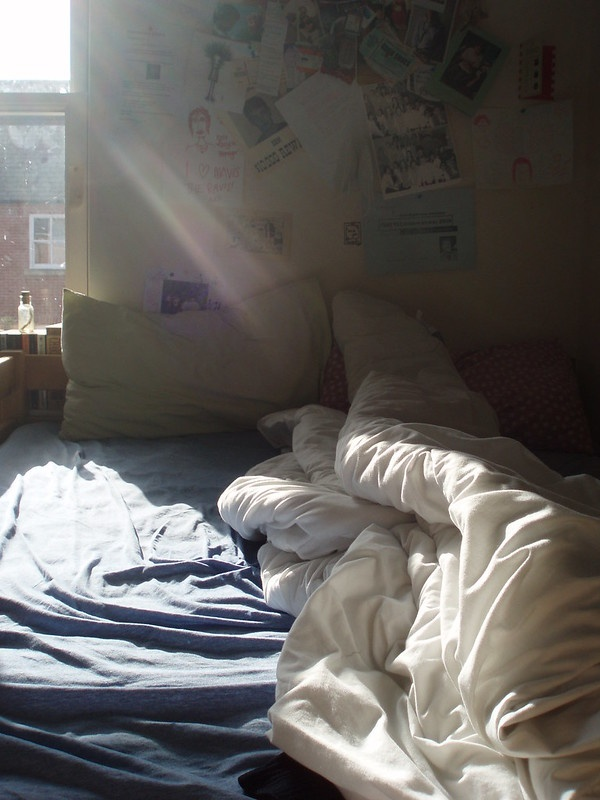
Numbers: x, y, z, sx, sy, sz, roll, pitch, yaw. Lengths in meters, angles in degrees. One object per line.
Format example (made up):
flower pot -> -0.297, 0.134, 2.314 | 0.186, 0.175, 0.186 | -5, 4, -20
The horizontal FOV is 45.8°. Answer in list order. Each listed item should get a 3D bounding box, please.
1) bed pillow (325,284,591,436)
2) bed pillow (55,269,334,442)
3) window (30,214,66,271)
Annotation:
bed pillow -> 0.413, -0.124, 1.947 | 0.723, 0.202, 0.287 | 19, 12, 8
bed pillow -> -0.320, -0.116, 2.250 | 0.871, 0.425, 0.199 | -1, 8, -2
window -> -0.883, -0.549, 2.473 | 0.122, 0.196, 0.015 | 4, 12, 2
